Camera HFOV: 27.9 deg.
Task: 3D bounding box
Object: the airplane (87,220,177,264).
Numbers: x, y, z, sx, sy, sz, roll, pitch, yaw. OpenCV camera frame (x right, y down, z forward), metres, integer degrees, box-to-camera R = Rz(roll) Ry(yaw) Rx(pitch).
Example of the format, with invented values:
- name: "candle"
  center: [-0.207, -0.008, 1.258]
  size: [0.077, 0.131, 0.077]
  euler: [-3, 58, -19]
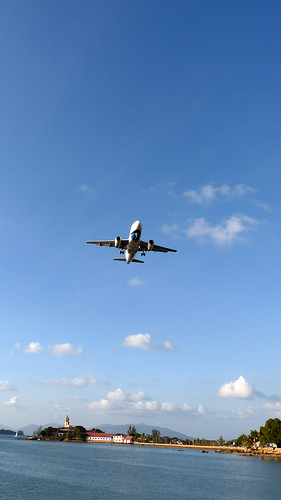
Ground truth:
- name: "airplane"
  center: [-1.136, -1.403, 103.866]
  size: [11.030, 3.539, 9.205]
  euler: [5, -52, -4]
